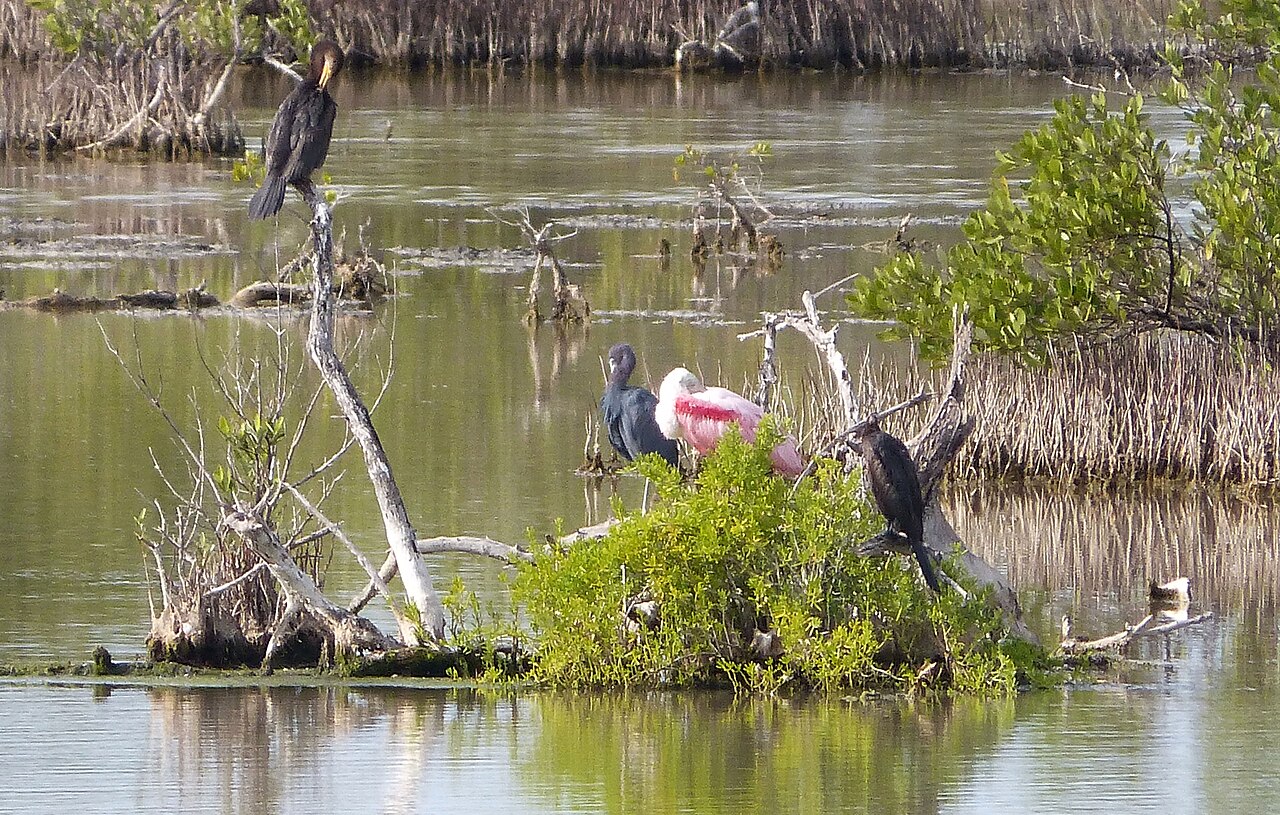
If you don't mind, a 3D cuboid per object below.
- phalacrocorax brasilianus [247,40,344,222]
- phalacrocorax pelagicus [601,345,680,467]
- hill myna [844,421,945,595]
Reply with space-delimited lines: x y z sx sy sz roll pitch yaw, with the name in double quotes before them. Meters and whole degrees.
"phalacrocorax brasilianus" -3.123 -2.545 22.265 0.653 1.946 1.100 2 0 -12
"phalacrocorax pelagicus" 0.045 0.021 24.491 0.869 1.427 0.485 -12 -23 21
"hill myna" 2.321 0.828 21.317 0.382 0.802 1.698 -5 34 -24
